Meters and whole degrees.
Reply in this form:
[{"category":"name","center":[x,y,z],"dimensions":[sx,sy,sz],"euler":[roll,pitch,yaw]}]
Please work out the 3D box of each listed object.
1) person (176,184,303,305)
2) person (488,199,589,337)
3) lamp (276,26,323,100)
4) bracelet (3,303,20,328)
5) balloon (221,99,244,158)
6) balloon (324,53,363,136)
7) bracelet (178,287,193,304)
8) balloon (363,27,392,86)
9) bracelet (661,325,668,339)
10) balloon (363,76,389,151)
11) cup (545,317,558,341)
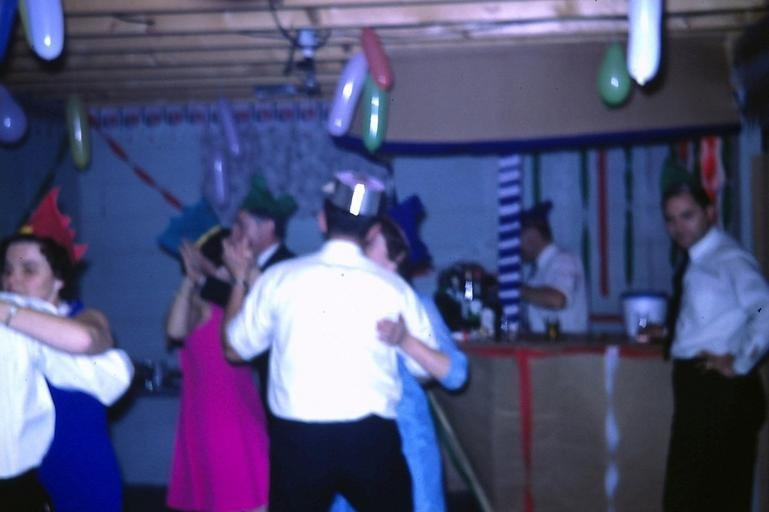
[{"category":"person","center":[-0.740,-0.081,5.497],"dimensions":[0.468,0.762,0.945],"euler":[6,4,-26]},{"category":"person","center":[0.995,0.084,5.831],"dimensions":[0.571,1.084,0.719],"euler":[-4,-10,24]},{"category":"lamp","center":[-0.524,-1.260,5.919],"dimensions":[0.289,0.385,0.357],"euler":[-2,-1,-5]},{"category":"bracelet","center":[-2.092,0.334,5.078],"dimensions":[0.085,0.100,0.028],"euler":[-2,0,-1]},{"category":"balloon","center":[-1.012,-0.859,6.152],"dimensions":[0.076,0.401,0.101],"euler":[8,35,22]},{"category":"balloon","center":[-0.212,-0.963,5.383],"dimensions":[0.252,0.458,0.201],"euler":[-2,0,2]},{"category":"bracelet","center":[-1.180,0.238,5.369],"dimensions":[0.058,0.066,0.060],"euler":[3,3,15]},{"category":"balloon","center":[-0.047,-1.182,5.347],"dimensions":[0.121,0.133,0.435],"euler":[9,-23,6]},{"category":"bracelet","center":[1.629,0.444,5.246],"dimensions":[0.058,0.064,0.044],"euler":[5,-26,6]},{"category":"balloon","center":[-0.064,-0.840,5.364],"dimensions":[0.195,0.413,0.189],"euler":[-2,-1,19]},{"category":"cup","center":[1.014,0.441,5.400],"dimensions":[0.076,0.123,0.039],"euler":[-4,-11,44]}]
